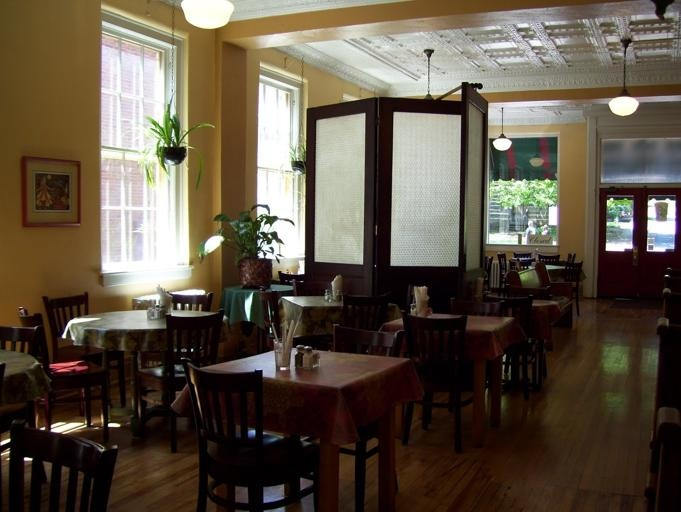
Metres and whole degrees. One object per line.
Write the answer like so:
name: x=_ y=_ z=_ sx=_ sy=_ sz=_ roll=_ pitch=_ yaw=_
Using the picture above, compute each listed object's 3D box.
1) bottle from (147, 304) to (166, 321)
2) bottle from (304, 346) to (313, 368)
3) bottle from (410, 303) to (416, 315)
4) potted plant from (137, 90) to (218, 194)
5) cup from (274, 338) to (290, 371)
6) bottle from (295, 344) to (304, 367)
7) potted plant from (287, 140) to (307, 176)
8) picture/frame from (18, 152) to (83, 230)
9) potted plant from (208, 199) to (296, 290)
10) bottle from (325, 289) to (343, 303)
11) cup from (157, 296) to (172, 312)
bottle: x=-1.510 y=0.469 z=4.662 sx=0.141 sy=0.153 sz=0.148 roll=3 pitch=4 yaw=24
bottle: x=-0.187 y=0.591 z=3.252 sx=0.059 sy=0.115 sz=0.049 roll=-3 pitch=3 yaw=-10
bottle: x=0.630 y=0.489 z=4.930 sx=0.059 sy=0.116 sz=0.062 roll=1 pitch=0 yaw=0
potted plant: x=-1.814 y=-1.249 z=6.299 sx=0.866 sy=0.900 sz=0.901 roll=4 pitch=7 yaw=33
cup: x=-0.336 y=0.568 z=3.271 sx=0.095 sy=0.179 sz=0.151 roll=-3 pitch=3 yaw=-8
bottle: x=-0.236 y=0.594 z=3.274 sx=0.049 sy=0.116 sz=0.087 roll=-5 pitch=4 yaw=-33
potted plant: x=-0.551 y=-1.465 z=8.339 sx=0.410 sy=0.506 sz=0.455 roll=0 pitch=-4 yaw=-14
picture/frame: x=-2.757 y=-0.614 z=5.268 sx=0.081 sy=0.856 sz=0.701 roll=1 pitch=2 yaw=32
potted plant: x=-1.140 y=-0.182 z=6.952 sx=0.998 sy=0.820 sz=1.076 roll=-3 pitch=-2 yaw=8
bottle: x=-0.064 y=0.414 z=5.656 sx=0.154 sy=0.125 sz=0.097 roll=-1 pitch=-1 yaw=22
cup: x=-1.447 y=0.398 z=4.693 sx=0.100 sy=0.147 sz=0.134 roll=-2 pitch=-7 yaw=13
